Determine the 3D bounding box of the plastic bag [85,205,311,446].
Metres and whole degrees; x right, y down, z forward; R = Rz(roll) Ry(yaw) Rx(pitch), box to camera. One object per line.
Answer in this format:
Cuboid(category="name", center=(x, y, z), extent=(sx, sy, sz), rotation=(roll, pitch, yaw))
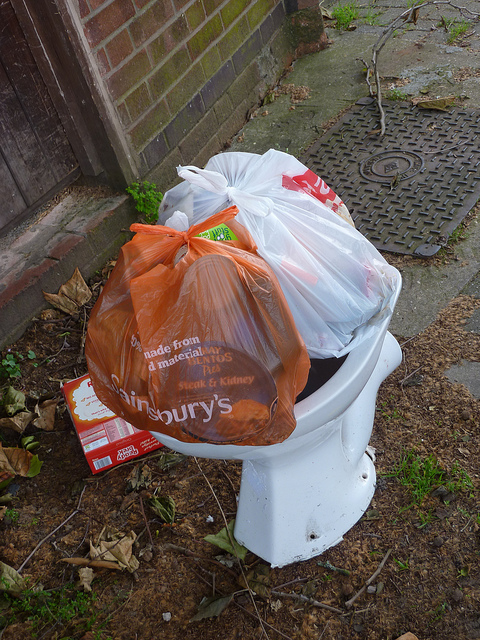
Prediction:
Cuboid(category="plastic bag", center=(-0.093, 0.024, 0.921), extent=(0.343, 0.270, 0.359), rotation=(-20, 36, -7))
